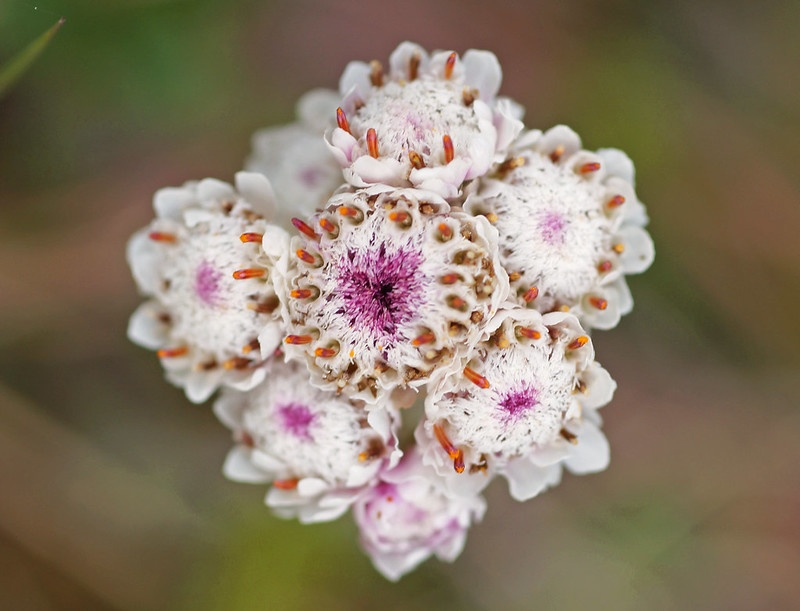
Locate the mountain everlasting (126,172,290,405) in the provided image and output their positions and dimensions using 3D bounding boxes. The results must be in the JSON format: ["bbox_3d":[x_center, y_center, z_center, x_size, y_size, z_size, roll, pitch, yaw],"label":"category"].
[{"bbox_3d":[-0.314,-0.035,1.558,0.306,0.141,0.405,-4,92,30],"label":"mountain everlasting"}]

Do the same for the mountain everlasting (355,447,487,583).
[{"bbox_3d":[0.022,0.347,1.608,0.226,0.098,0.230,-32,107,-3],"label":"mountain everlasting"}]

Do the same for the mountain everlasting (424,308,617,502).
[{"bbox_3d":[0.201,0.167,1.430,0.282,0.126,0.358,15,100,-8],"label":"mountain everlasting"}]

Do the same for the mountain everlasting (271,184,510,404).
[{"bbox_3d":[-0.019,-0.029,1.390,0.369,0.089,0.326,-16,82,-3],"label":"mountain everlasting"}]

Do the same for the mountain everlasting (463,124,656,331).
[{"bbox_3d":[0.265,-0.083,1.527,0.295,0.145,0.368,-18,93,-20],"label":"mountain everlasting"}]

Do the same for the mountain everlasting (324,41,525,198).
[{"bbox_3d":[0.039,-0.314,1.472,0.322,0.194,0.300,9,81,1],"label":"mountain everlasting"}]
